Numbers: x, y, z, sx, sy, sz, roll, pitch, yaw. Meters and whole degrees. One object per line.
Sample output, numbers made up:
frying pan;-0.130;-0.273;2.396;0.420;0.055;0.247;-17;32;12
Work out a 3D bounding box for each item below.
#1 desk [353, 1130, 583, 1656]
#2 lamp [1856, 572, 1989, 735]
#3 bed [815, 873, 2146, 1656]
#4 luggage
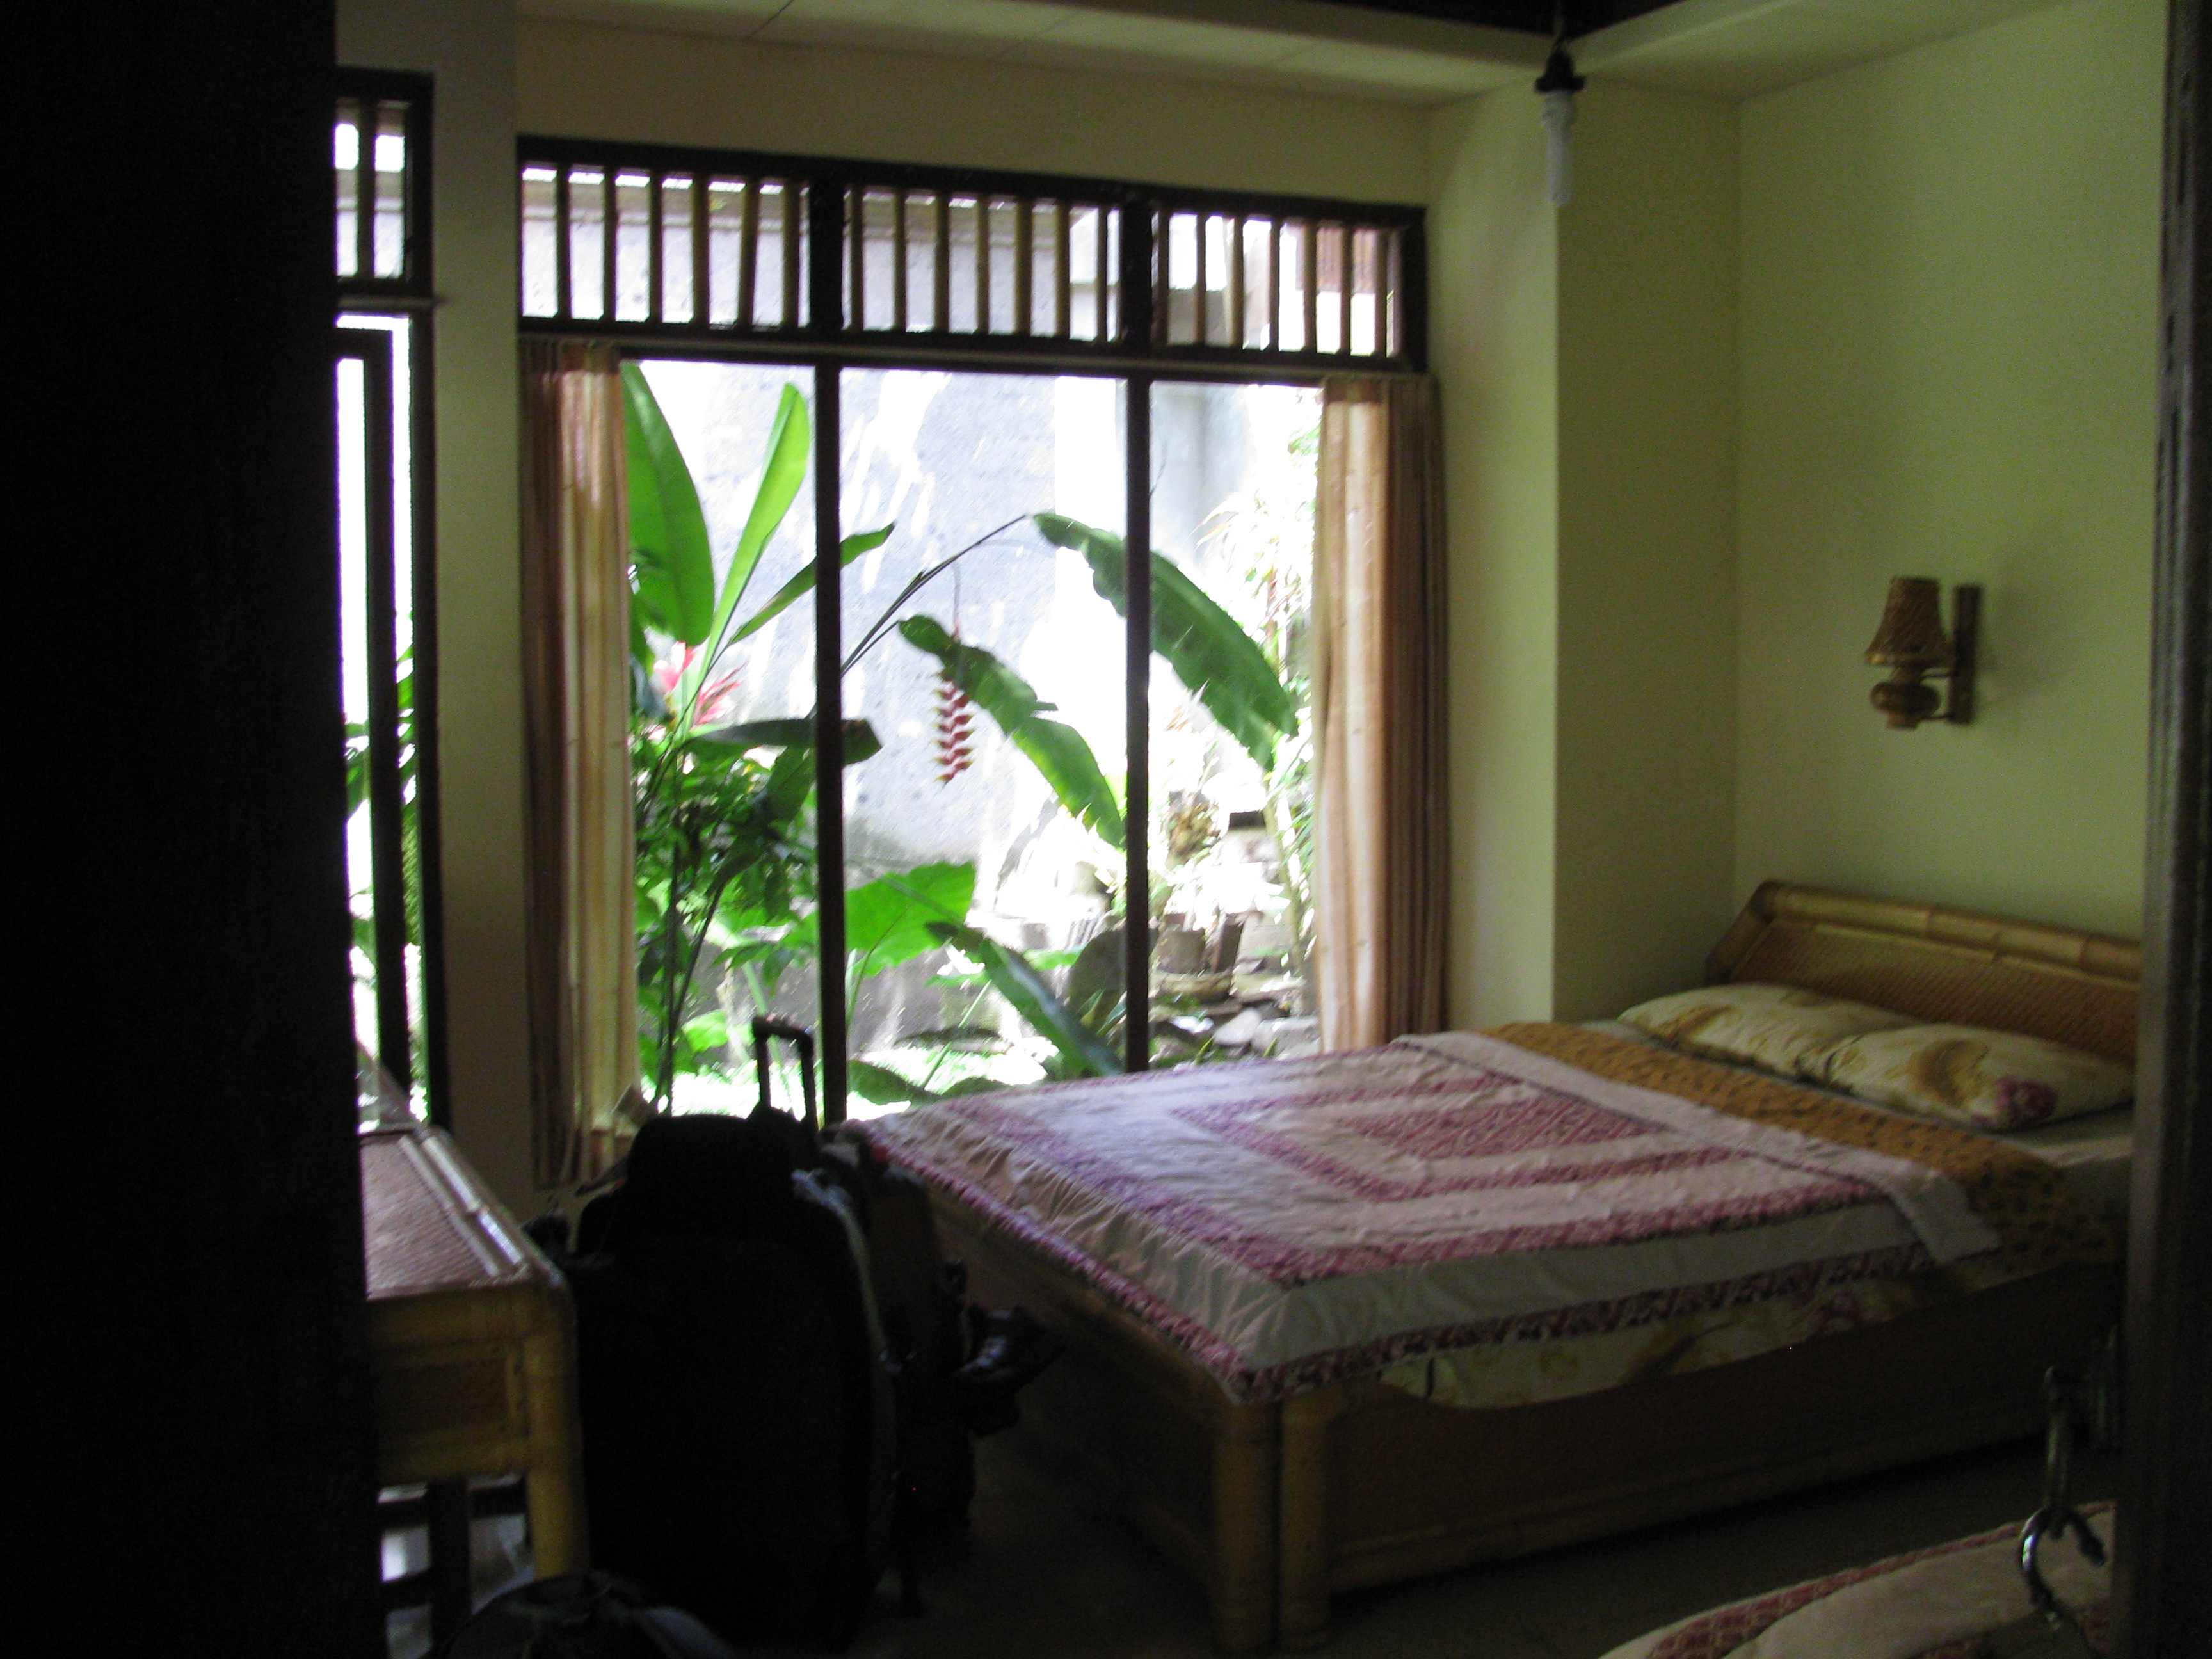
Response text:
desk;-0.666;0.486;1.969;0.216;0.360;0.695;-4;16;-18
lamp;1.923;-0.407;4.436;0.243;0.363;0.218;-7;8;-40
bed;0.940;0.882;3.455;1.836;0.831;1.370;-7;10;-27
luggage;-0.508;0.750;3.035;0.528;0.985;0.635;-2;6;4
